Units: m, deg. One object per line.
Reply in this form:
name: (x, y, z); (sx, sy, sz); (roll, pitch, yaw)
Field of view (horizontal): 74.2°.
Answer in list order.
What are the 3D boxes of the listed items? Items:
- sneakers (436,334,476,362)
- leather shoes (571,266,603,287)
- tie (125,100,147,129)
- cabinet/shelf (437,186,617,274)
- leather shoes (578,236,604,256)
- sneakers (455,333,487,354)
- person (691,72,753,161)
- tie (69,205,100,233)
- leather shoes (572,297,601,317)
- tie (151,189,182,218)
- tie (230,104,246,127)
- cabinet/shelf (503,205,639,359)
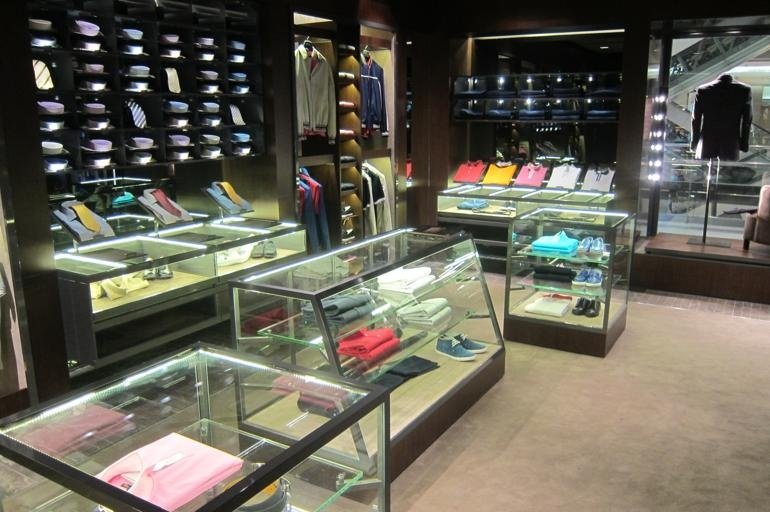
sneakers: (0.558, 0.779, 4.325); (0.433, 0.162, 0.159); (3, 14, 4)
leather shoes: (1.997, 0.202, 5.015); (0.256, 0.197, 0.090); (14, 23, 38)
tie: (-2.359, -1.331, 4.758); (0.131, 0.242, 0.268); (-15, 23, -38)
cabinet/shelf: (1.676, -0.308, 5.797); (1.437, 0.664, 0.477); (3, 8, 25)
leather shoes: (2.001, -0.096, 4.957); (0.151, 0.065, 0.206); (10, 26, 32)
sneakers: (0.743, 0.757, 4.459); (0.368, 0.110, 0.125); (7, 18, 13)
person: (4.274, -1.764, 6.471); (0.651, 1.034, 0.261); (8, 20, 24)
tie: (-2.661, -0.335, 4.488); (0.192, 0.234, 0.245); (-12, 21, -32)
leather shoes: (2.026, 0.517, 5.137); (0.178, 0.082, 0.241); (5, 14, 29)
tie: (-2.232, -0.533, 5.129); (0.052, 0.358, 0.183); (-43, 5, 38)
tie: (-1.622, -1.509, 5.509); (0.066, 0.241, 0.177); (-16, -1, 39)
cabinet/shelf: (1.816, 0.225, 5.218); (1.079, 1.329, 0.731); (11, 21, 31)
